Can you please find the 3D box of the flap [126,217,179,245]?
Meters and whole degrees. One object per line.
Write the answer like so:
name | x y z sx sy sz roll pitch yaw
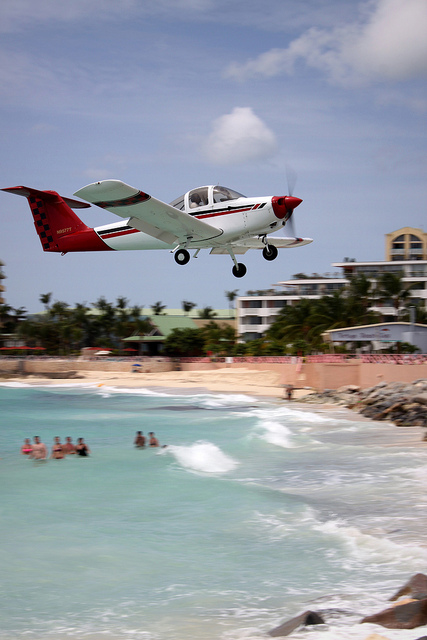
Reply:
flap | -1.424 -2.149 16.769 0.373 0.605 1.428 -4 -1 42

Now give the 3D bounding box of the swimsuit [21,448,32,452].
swimsuit | -4.263 2.989 16.078 0.244 0.048 0.211 -1 -2 4

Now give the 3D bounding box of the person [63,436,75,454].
person | -3.302 2.858 16.035 0.253 0.396 0.815 -4 0 -13

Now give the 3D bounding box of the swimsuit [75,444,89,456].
swimsuit | -3.012 2.994 16.073 0.311 0.236 0.155 2 -19 -7

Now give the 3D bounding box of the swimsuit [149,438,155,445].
swimsuit | -1.479 2.972 17.056 0.208 0.164 0.052 -4 -8 12

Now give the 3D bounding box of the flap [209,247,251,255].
flap | 0.354 -1.846 18.625 0.866 0.193 1.101 -3 0 25

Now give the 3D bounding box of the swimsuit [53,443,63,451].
swimsuit | -3.488 2.879 15.805 0.193 0.144 0.079 -1 12 2

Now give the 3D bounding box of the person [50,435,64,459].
person | -3.530 2.847 15.798 0.314 0.521 1.216 -4 0 -13
